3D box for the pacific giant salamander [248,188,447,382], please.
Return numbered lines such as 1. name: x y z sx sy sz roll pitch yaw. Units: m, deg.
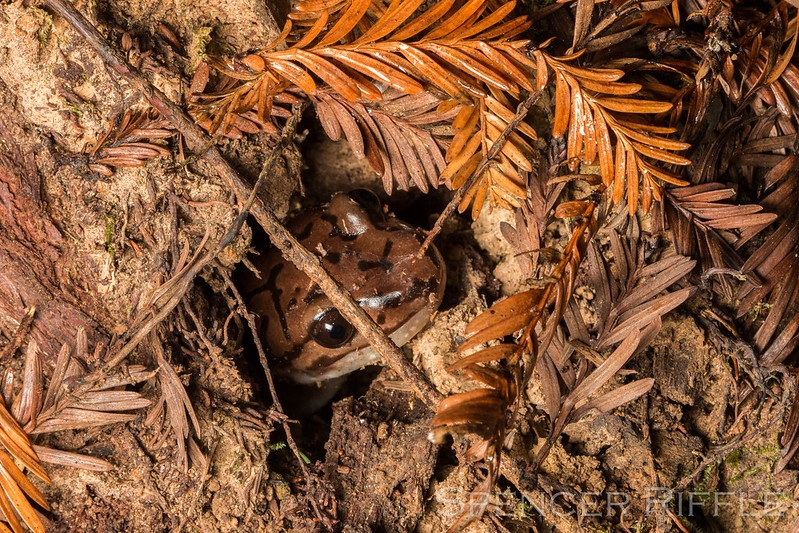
1. pacific giant salamander: -0.189 0.128 2.852 0.603 0.604 0.388 0 32 -13
